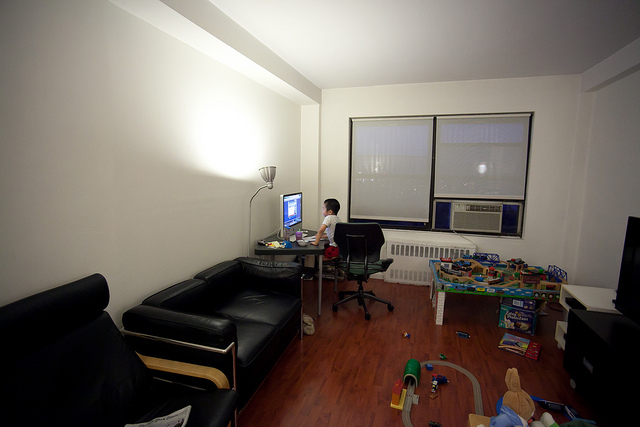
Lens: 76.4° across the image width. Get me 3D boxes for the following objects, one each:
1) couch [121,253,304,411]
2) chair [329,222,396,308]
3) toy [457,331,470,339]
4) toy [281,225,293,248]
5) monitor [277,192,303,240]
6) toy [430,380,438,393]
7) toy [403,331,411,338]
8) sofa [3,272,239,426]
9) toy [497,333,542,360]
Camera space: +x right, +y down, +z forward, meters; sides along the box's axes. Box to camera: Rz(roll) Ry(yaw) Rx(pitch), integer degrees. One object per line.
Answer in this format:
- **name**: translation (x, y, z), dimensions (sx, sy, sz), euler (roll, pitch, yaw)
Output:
- **couch**: translation (-0.944, 0.976, 4.162), dimensions (1.122, 1.234, 1.800), euler (1, 6, 14)
- **chair**: translation (0.577, 0.686, 5.435), dimensions (0.834, 1.151, 0.806), euler (1, 2, -5)
- **toy**: translation (1.710, 1.446, 4.829), dimensions (0.138, 0.044, 0.100), euler (8, 8, 24)
- **toy**: translation (-0.411, 0.289, 5.350), dimensions (0.131, 0.229, 0.504), euler (4, 7, -4)
- **monitor**: translation (-0.443, -0.008, 5.651), dimensions (0.186, 0.563, 0.583), euler (4, 10, 22)
- **toy**: translation (1.138, 1.714, 4.016), dimensions (0.048, 0.022, 0.093), euler (-1, 39, 36)
- **toy**: translation (1.033, 1.442, 4.840), dimensions (0.075, 0.026, 0.101), euler (6, 7, 7)
- **sofa**: translation (-1.601, 1.168, 3.613), dimensions (1.389, 1.058, 2.156), euler (5, 3, 0)
- **toy**: translation (2.262, 1.506, 4.614), dimensions (0.413, 0.124, 0.254), euler (9, 8, 30)
